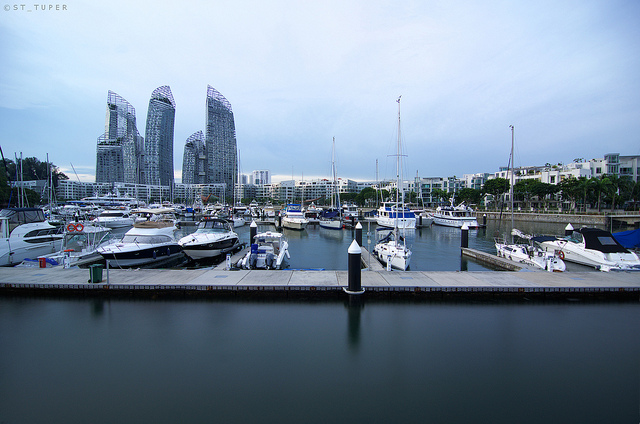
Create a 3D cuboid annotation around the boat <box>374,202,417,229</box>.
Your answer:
[{"bbox_3d":[10.242,0.506,62.922,3.021,2.965,9.284,0,-3,-11],"label":"boat"}]

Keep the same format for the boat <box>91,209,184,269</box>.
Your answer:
[{"bbox_3d":[-12.872,1.812,33.442,3.080,3.948,8.733,2,4,14],"label":"boat"}]

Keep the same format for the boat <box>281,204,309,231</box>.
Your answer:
[{"bbox_3d":[-3.416,0.426,61.254,2.718,2.929,7.318,2,7,-13],"label":"boat"}]

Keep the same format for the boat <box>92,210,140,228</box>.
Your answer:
[{"bbox_3d":[-21.730,0.783,49.359,3.671,1.095,1.880,1,4,33],"label":"boat"}]

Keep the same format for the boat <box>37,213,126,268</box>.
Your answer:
[{"bbox_3d":[-16.374,2.112,32.377,2.843,2.961,5.335,-2,4,-7],"label":"boat"}]

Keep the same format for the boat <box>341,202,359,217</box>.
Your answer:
[{"bbox_3d":[4.959,-0.551,75.719,2.188,2.081,5.750,0,-3,-5],"label":"boat"}]

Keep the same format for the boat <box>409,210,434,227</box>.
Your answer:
[{"bbox_3d":[14.459,0.948,66.252,2.033,1.867,6.151,-1,-7,1],"label":"boat"}]

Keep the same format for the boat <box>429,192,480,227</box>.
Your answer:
[{"bbox_3d":[19.241,0.687,65.777,3.261,4.327,9.310,1,4,-8],"label":"boat"}]

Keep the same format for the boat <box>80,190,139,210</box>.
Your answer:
[{"bbox_3d":[-39.046,-2.421,86.767,8.408,3.324,6.818,-2,4,-6],"label":"boat"}]
